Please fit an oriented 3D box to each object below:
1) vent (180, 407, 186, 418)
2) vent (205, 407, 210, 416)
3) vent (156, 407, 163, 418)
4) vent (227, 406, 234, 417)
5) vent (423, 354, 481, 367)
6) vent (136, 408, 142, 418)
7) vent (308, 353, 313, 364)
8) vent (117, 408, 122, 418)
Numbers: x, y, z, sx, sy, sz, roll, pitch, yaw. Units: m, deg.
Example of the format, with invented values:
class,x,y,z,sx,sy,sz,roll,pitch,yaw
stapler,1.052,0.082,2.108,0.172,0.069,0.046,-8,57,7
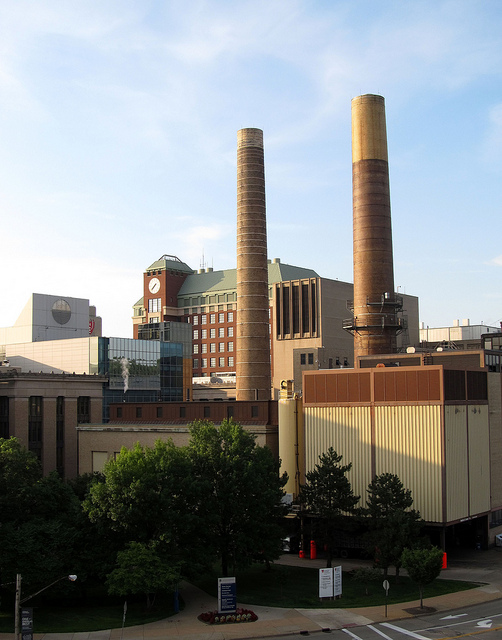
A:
class,x,y,z,sx,sy,sz,roll,pitch,yaw
vent,-5.994,8.210,93.443,0.655,0.881,0.195,-1,0,34
vent,-3.800,7.997,91.892,0.525,0.708,0.070,-1,0,37
vent,-8.269,8.370,95.495,0.212,0.787,0.855,9,-3,-29
vent,-1.722,7.712,89.431,0.189,0.683,0.778,2,-2,-30
vent,16.815,3.359,86.743,4.279,1.015,0.575,-1,0,45
vent,-10.266,8.587,97.397,0.176,0.864,0.785,-1,0,-38
vent,7.788,5.171,140.172,0.591,1.400,0.947,-1,0,-1
vent,-12.295,8.745,99.432,0.637,0.821,0.133,-1,0,43
